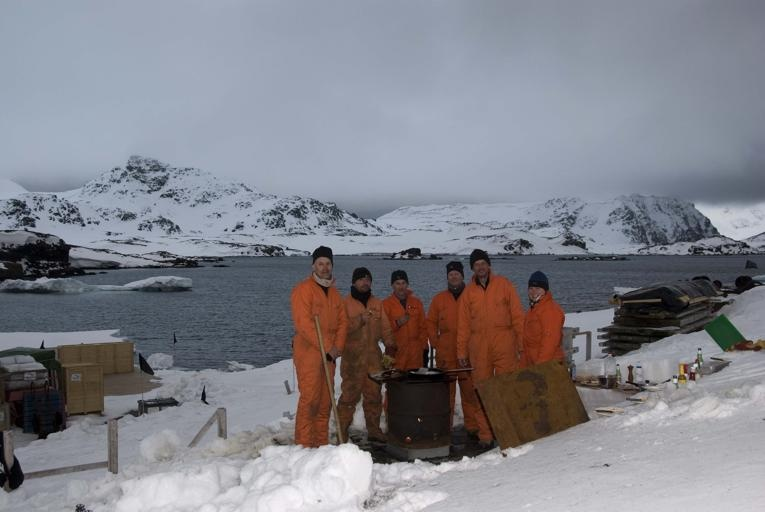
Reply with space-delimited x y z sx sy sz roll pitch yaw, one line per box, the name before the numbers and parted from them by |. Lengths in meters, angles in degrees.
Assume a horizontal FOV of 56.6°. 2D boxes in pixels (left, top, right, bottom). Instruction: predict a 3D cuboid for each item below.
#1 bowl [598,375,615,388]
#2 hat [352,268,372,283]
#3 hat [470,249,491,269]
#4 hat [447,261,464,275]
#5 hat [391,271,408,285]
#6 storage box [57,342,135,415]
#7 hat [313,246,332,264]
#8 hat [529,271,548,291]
bowl | 4.782 2.680 15.112 0.310 0.185 0.236 -1 -8 13
hat | -0.421 0.359 14.089 0.342 0.255 0.346 6 -17 -30
hat | 1.809 0.039 13.624 0.388 0.328 0.396 -1 2 -43
hat | 1.455 0.243 14.355 0.258 0.225 0.307 1 9 10
hat | 0.371 0.439 14.835 0.329 0.240 0.312 0 -14 -7
storage box | -8.508 4.166 21.246 1.870 1.881 3.159 -3 0 -17
hat | -1.105 -0.036 13.219 0.351 0.272 0.341 0 -16 1
hat | 3.040 0.500 13.856 0.461 0.371 0.381 0 -9 -20
